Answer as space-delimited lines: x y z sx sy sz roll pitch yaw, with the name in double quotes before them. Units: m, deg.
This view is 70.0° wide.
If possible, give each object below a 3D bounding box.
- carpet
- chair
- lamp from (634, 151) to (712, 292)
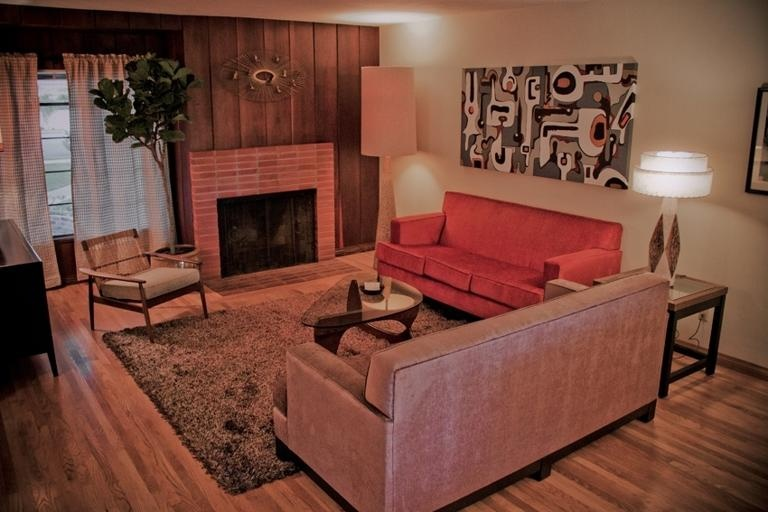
"carpet" -1.327 0.964 4.325 1.677 0.088 1.554 -10 21 -33
"chair" -2.385 0.276 5.534 1.199 1.056 1.008 14 22 31
"lamp" 2.282 -0.317 4.441 0.536 1.006 0.551 10 21 29
